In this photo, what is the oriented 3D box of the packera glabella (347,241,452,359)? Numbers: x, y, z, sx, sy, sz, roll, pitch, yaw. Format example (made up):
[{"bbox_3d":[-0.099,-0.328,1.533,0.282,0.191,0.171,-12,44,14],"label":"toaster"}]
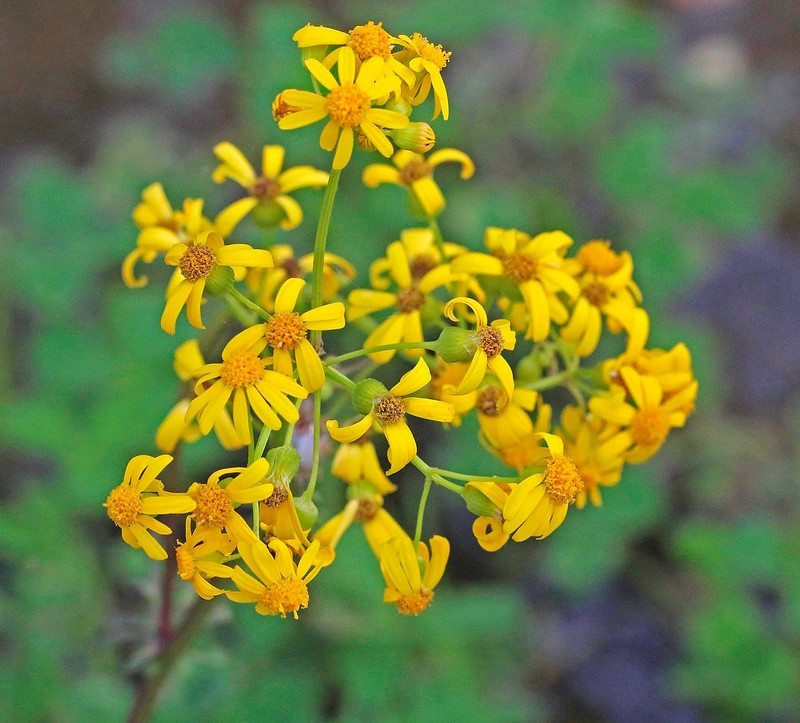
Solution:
[{"bbox_3d":[0.010,-0.085,1.245,0.189,0.218,0.060,-14,74,15],"label":"packera glabella"}]

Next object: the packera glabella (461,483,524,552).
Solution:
[{"bbox_3d":[0.117,0.183,1.129,0.037,0.063,0.086,-17,59,-10],"label":"packera glabella"}]

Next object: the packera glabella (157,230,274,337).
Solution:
[{"bbox_3d":[-0.217,-0.109,1.071,0.071,0.113,0.121,51,50,-17],"label":"packera glabella"}]

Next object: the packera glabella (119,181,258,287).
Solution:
[{"bbox_3d":[-0.330,-0.181,1.267,0.157,0.064,0.161,42,43,12],"label":"packera glabella"}]

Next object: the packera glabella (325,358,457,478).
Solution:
[{"bbox_3d":[-0.004,0.066,1.051,0.154,0.048,0.126,-39,88,-6],"label":"packera glabella"}]

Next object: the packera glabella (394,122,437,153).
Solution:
[{"bbox_3d":[0.018,-0.266,1.055,0.050,0.028,0.027,4,56,25],"label":"packera glabella"}]

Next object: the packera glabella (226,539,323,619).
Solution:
[{"bbox_3d":[-0.148,0.250,1.082,0.093,0.048,0.109,-13,106,12],"label":"packera glabella"}]

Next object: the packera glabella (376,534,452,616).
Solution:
[{"bbox_3d":[0.017,0.277,1.137,0.070,0.088,0.101,-18,73,35],"label":"packera glabella"}]

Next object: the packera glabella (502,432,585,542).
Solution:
[{"bbox_3d":[0.165,0.154,1.105,0.066,0.112,0.125,8,104,35],"label":"packera glabella"}]

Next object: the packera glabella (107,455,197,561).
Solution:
[{"bbox_3d":[-0.313,0.160,1.106,0.123,0.053,0.151,-24,55,30],"label":"packera glabella"}]

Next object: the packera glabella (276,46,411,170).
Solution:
[{"bbox_3d":[-0.051,-0.299,1.044,0.179,0.207,0.068,-9,89,-20],"label":"packera glabella"}]

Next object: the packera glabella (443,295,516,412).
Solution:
[{"bbox_3d":[0.102,-0.022,1.061,0.092,0.047,0.146,9,73,-18],"label":"packera glabella"}]

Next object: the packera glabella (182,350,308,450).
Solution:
[{"bbox_3d":[-0.191,0.040,1.056,0.138,0.127,0.080,-22,106,-33],"label":"packera glabella"}]
